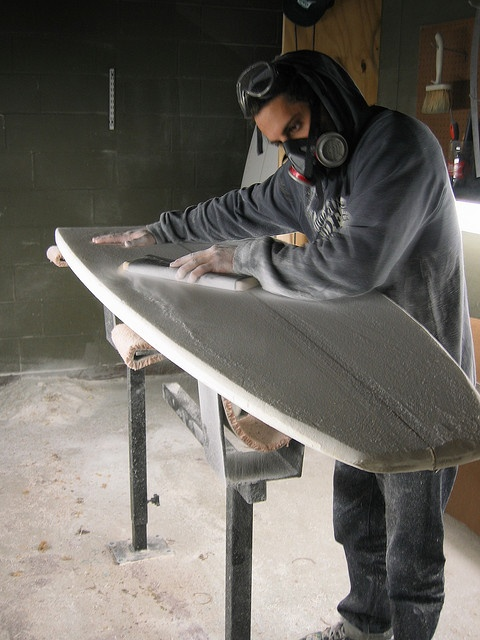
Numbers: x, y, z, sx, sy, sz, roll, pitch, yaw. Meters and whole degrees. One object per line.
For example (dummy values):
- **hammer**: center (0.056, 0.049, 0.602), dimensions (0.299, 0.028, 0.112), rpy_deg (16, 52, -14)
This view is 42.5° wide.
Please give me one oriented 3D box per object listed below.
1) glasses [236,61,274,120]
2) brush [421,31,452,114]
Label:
- **glasses**: center (0.032, -0.462, 1.232), dimensions (0.064, 0.104, 0.111), rpy_deg (-2, 16, -12)
- **brush**: center (0.748, -0.944, 2.342), dimensions (0.049, 0.272, 0.131), rpy_deg (-13, 22, -22)
